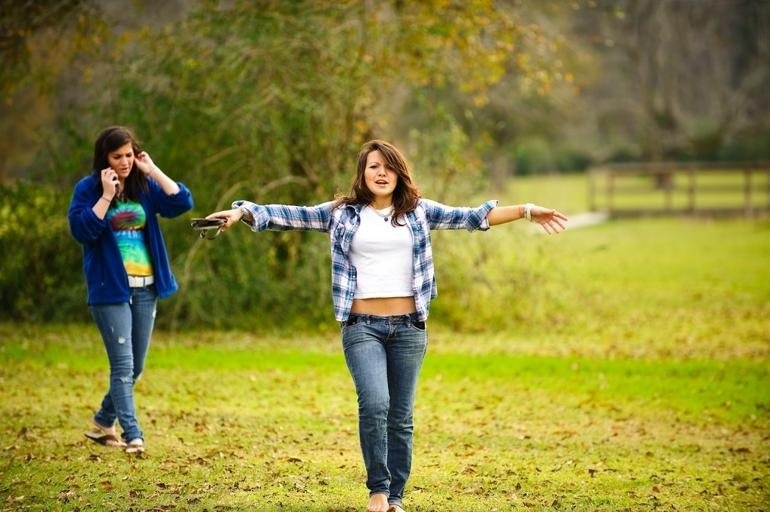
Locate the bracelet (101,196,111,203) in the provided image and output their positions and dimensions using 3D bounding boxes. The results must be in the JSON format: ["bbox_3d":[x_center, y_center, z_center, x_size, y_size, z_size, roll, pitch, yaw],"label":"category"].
[{"bbox_3d":[-2.802,-0.552,11.498,0.103,0.076,0.059,-4,10,-18],"label":"bracelet"}]

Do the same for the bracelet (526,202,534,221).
[{"bbox_3d":[1.411,-0.417,11.038,0.091,0.146,0.133,-3,18,-4],"label":"bracelet"}]

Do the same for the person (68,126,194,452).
[{"bbox_3d":[-2.665,0.390,11.820,1.074,3.401,0.475,-3,9,-17],"label":"person"}]

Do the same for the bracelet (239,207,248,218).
[{"bbox_3d":[-1.314,-0.401,10.710,0.067,0.072,0.017,0,-9,-31],"label":"bracelet"}]

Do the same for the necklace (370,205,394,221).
[{"bbox_3d":[-0.011,-0.382,10.708,0.110,0.157,0.036,-2,-14,-9],"label":"necklace"}]
